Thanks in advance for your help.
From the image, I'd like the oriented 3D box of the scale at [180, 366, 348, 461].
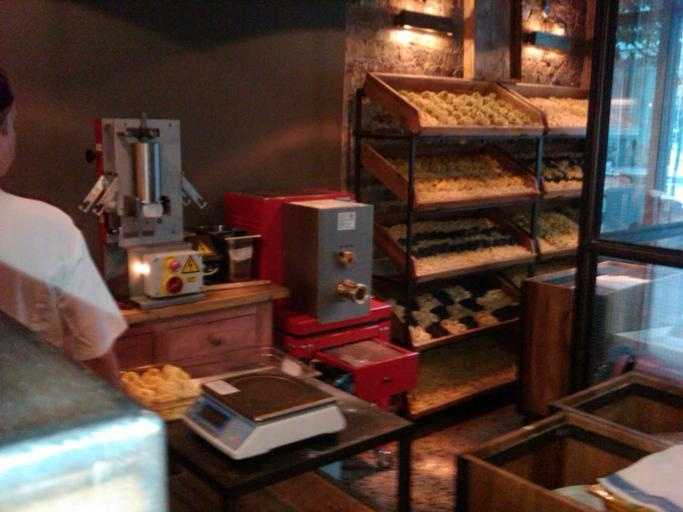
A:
[{"bbox_3d":[-0.190,0.429,1.695,0.290,0.086,0.251,-4,8,-35],"label":"scale"}]
